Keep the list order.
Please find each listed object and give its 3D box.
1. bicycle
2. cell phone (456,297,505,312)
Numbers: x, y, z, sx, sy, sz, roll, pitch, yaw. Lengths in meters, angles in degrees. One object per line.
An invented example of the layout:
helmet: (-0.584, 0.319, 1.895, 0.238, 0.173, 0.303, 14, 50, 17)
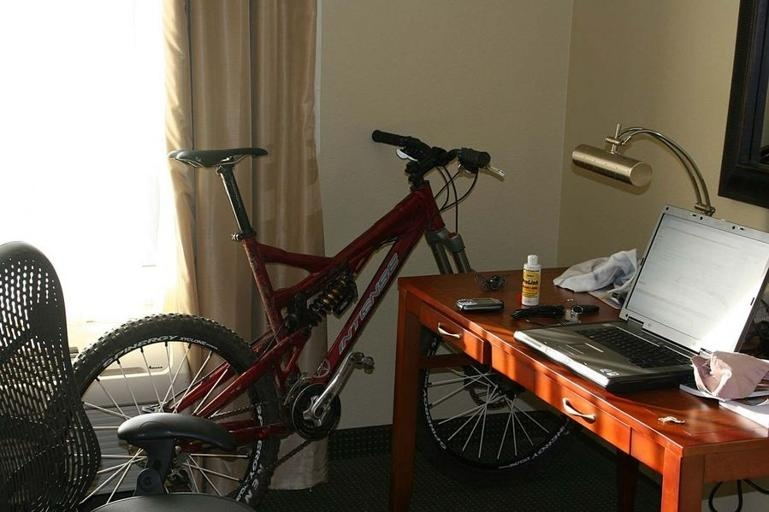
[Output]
bicycle: (-0.291, 0.176, 3.055, 2.109, 1.330, 1.027, -6, 14, -18)
cell phone: (0.341, 0.175, 2.235, 0.117, 0.027, 0.067, 2, 3, -11)
